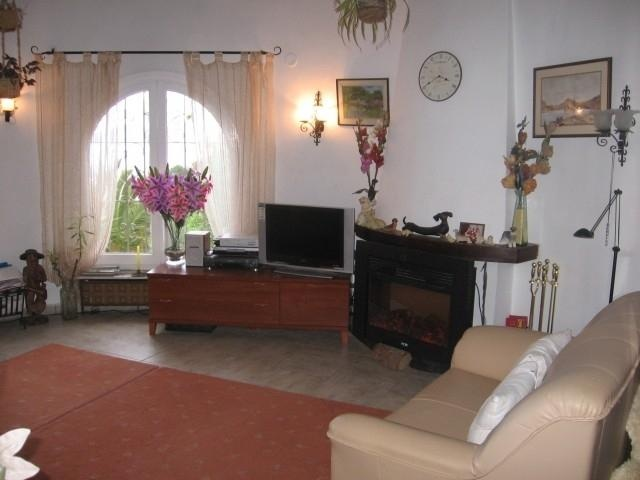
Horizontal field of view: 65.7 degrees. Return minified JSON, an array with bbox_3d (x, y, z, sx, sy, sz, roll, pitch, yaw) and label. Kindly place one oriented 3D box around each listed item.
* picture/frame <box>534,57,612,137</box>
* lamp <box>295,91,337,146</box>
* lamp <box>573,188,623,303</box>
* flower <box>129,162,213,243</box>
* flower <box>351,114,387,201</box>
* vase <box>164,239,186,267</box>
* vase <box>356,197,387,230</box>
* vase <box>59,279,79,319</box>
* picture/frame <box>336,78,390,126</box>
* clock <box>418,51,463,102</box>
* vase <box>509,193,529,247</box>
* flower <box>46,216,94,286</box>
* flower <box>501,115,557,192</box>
[{"bbox_3d":[1.947,-1.093,3.772,0.634,0.643,0.042,8,15,41],"label":"picture/frame"},{"bbox_3d":[-0.051,-1.257,5.155,0.357,0.551,0.148,1,14,-2],"label":"lamp"},{"bbox_3d":[2.041,0.050,3.646,0.309,0.824,0.398,10,16,32],"label":"lamp"},{"bbox_3d":[-1.524,-0.346,5.169,0.770,0.850,0.740,-2,9,-7],"label":"flower"},{"bbox_3d":[0.485,-0.780,4.830,0.319,0.761,0.758,2,13,3],"label":"flower"},{"bbox_3d":[-1.484,0.132,5.165,0.241,0.275,0.235,-1,6,-8],"label":"vase"},{"bbox_3d":[0.474,-0.273,4.622,0.268,0.273,0.227,17,38,20],"label":"vase"},{"bbox_3d":[-2.649,0.617,5.236,0.163,0.383,0.171,-4,15,-22],"label":"vase"},{"bbox_3d":[0.449,-1.409,5.016,0.575,0.497,0.026,2,9,15],"label":"picture/frame"},{"bbox_3d":[1.024,-1.369,4.156,0.052,0.490,0.467,-8,7,-41],"label":"clock"},{"bbox_3d":[1.559,-0.170,3.838,0.131,0.393,0.314,7,14,21],"label":"vase"},{"bbox_3d":[-2.639,0.087,5.269,0.461,0.696,0.204,-5,15,-25],"label":"flower"},{"bbox_3d":[1.622,-0.673,3.857,0.439,0.718,0.359,11,20,35],"label":"flower"}]
